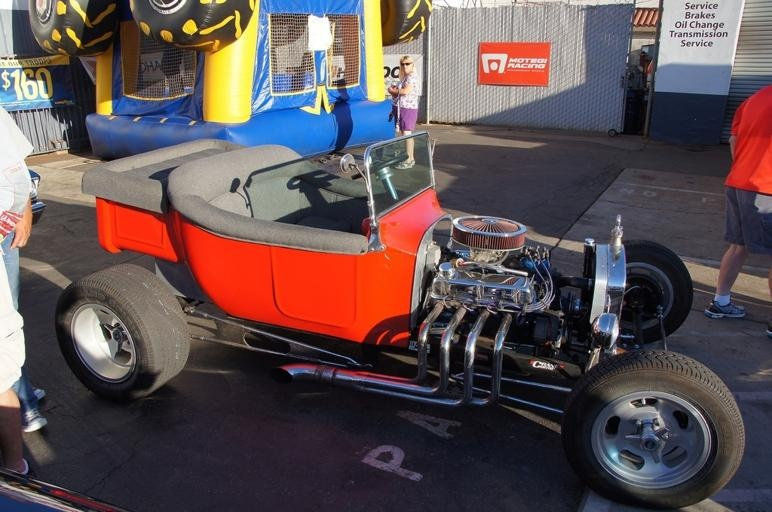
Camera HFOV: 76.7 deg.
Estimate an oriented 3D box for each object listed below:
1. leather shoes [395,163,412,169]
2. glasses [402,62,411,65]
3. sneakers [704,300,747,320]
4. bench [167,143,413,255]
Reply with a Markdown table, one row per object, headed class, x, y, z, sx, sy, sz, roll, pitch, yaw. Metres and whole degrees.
| class | x | y | z | sx | sy | sz | roll | pitch | yaw |
| --- | --- | --- | --- | --- | --- | --- | --- | --- | --- |
| leather shoes | 0.127 | -0.673 | 3.684 | 0.127 | 0.046 | 0.044 | 1 | 6 | -31 |
| glasses | 0.392 | -3.774 | 9.616 | 0.150 | 0.056 | 0.047 | 3 | 25 | 8 |
| sneakers | 3.279 | 0.532 | 4.806 | 0.400 | 0.161 | 0.155 | -1 | 10 | 1 |
| bench | -0.757 | -0.483 | 3.895 | 1.246 | 0.451 | 1.088 | 11 | 23 | 28 |
